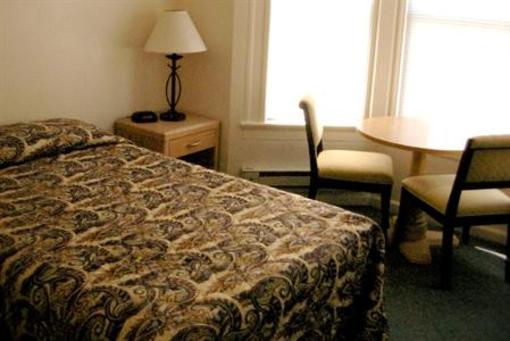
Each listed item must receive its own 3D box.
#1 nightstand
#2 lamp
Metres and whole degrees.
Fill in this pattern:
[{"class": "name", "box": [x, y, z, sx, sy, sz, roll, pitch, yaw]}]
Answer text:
[{"class": "nightstand", "box": [-0.807, -0.153, 3.633, 0.841, 0.566, 0.778, 10, 20, 14]}, {"class": "lamp", "box": [-0.681, -0.929, 3.500, 0.520, 0.940, 0.505, 0, 21, -7]}]
